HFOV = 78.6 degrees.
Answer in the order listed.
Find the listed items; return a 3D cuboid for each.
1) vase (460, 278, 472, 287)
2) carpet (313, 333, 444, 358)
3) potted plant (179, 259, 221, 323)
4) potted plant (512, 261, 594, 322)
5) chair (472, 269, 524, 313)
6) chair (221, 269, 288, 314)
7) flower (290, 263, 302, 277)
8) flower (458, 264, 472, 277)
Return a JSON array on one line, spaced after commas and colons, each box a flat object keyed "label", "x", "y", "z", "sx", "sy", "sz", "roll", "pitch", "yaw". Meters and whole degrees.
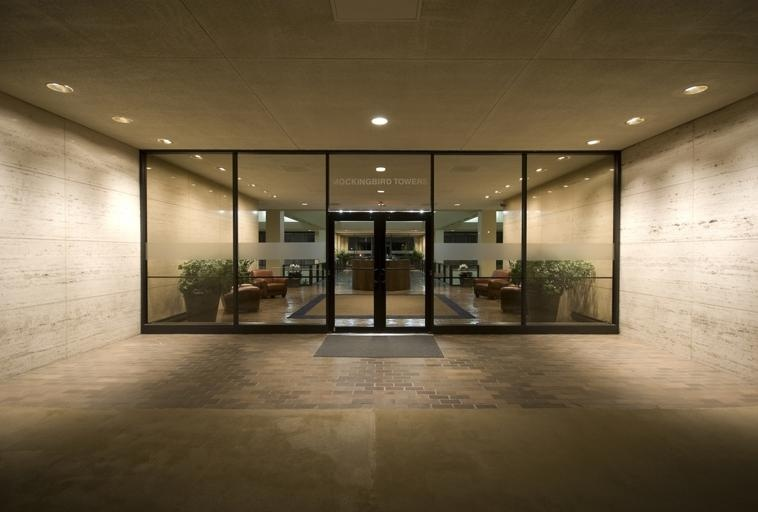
[{"label": "vase", "x": 1.656, "y": 0.518, "z": 8.760, "sx": 0.225, "sy": 0.200, "sz": 0.161, "roll": 1, "pitch": 12, "yaw": 7}, {"label": "carpet", "x": 0.001, "y": 1.502, "z": 7.718, "sx": 2.004, "sy": 0.064, "sz": 1.216, "roll": 0, "pitch": 10, "yaw": -1}, {"label": "potted plant", "x": -3.258, "y": 0.656, "z": 8.436, "sx": 0.718, "sy": 1.105, "sz": 0.289, "roll": -1, "pitch": 14, "yaw": -7}, {"label": "potted plant", "x": 3.140, "y": 0.624, "z": 8.901, "sx": 1.808, "sy": 1.420, "sz": 1.160, "roll": 1, "pitch": -9, "yaw": -2}, {"label": "chair", "x": 2.262, "y": 0.710, "z": 8.874, "sx": 0.870, "sy": 0.916, "sz": 1.100, "roll": 1, "pitch": -2, "yaw": -10}, {"label": "chair", "x": -2.258, "y": 0.698, "z": 8.769, "sx": 1.037, "sy": 0.689, "sz": 0.940, "roll": -5, "pitch": -9, "yaw": 25}, {"label": "flower", "x": -1.592, "y": 0.297, "z": 8.870, "sx": 0.282, "sy": 0.162, "sz": 0.238, "roll": 1, "pitch": -1, "yaw": -12}, {"label": "flower", "x": 1.630, "y": 0.281, "z": 8.786, "sx": 0.202, "sy": 0.264, "sz": 0.202, "roll": -4, "pitch": 13, "yaw": -19}]
